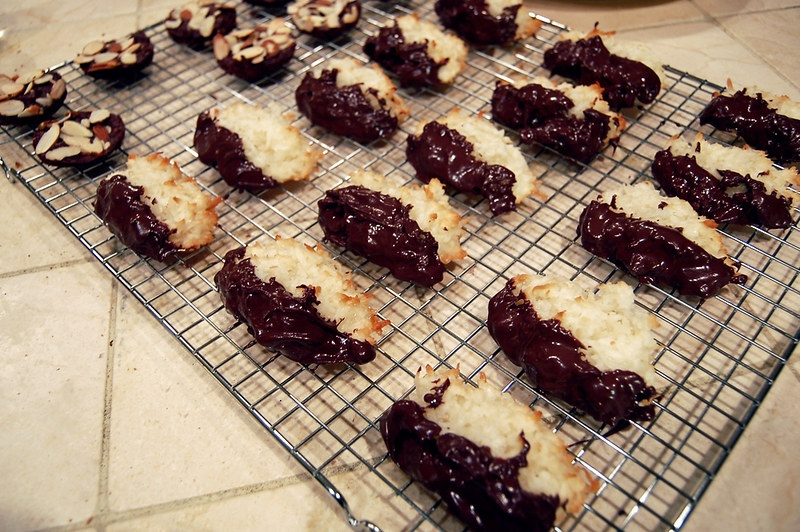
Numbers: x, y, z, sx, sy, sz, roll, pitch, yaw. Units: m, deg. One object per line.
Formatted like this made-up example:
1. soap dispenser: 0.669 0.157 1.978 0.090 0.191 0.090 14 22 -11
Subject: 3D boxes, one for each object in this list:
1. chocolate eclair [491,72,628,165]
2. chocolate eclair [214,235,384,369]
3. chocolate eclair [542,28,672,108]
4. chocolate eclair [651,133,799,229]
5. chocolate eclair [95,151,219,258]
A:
1. chocolate eclair: 0.638 -0.659 3.072 0.593 0.230 0.382 32 25 26
2. chocolate eclair: -0.350 0.132 2.479 0.540 0.165 0.384 37 51 14
3. chocolate eclair: 0.871 -0.854 3.073 0.482 0.232 0.323 32 73 24
4. chocolate eclair: 1.273 -0.296 2.805 0.425 0.129 0.362 24 69 20
5. chocolate eclair: -0.949 -0.239 2.784 0.512 0.187 0.388 41 42 23
